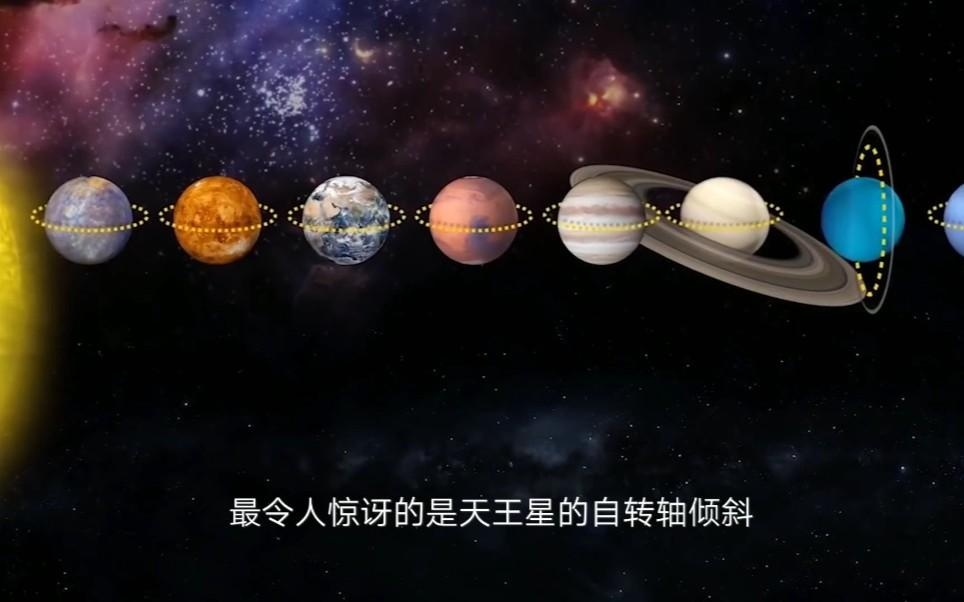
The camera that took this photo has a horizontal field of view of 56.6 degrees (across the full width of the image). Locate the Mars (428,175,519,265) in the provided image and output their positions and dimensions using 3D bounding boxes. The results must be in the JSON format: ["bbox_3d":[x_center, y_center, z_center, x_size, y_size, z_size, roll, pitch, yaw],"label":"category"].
[{"bbox_3d":[-0.061,-0.600,6.570,0.569,0.400,0.640,2,97,6],"label":"Mars"}]

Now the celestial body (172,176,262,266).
[{"bbox_3d":[-1.934,-0.586,6.579,0.635,0.288,0.563,-36,69,-10],"label":"celestial body"}]
